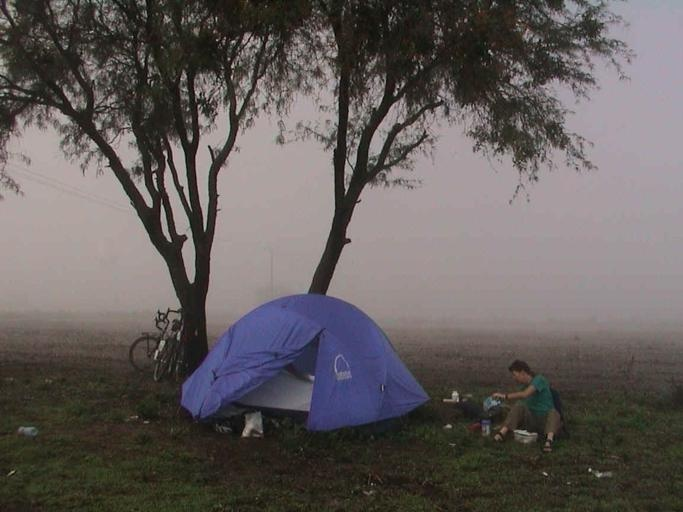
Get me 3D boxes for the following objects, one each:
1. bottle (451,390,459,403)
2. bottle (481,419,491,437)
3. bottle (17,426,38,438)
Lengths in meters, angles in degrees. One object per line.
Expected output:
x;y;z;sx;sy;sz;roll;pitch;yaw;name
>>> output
2.706;3.376;17.108;0.188;0.318;0.195;0;-3;0;bottle
2.975;3.577;14.867;0.229;0.404;0.237;0;-4;0;bottle
-6.199;3.452;14.164;0.393;0.165;0.373;1;12;0;bottle
